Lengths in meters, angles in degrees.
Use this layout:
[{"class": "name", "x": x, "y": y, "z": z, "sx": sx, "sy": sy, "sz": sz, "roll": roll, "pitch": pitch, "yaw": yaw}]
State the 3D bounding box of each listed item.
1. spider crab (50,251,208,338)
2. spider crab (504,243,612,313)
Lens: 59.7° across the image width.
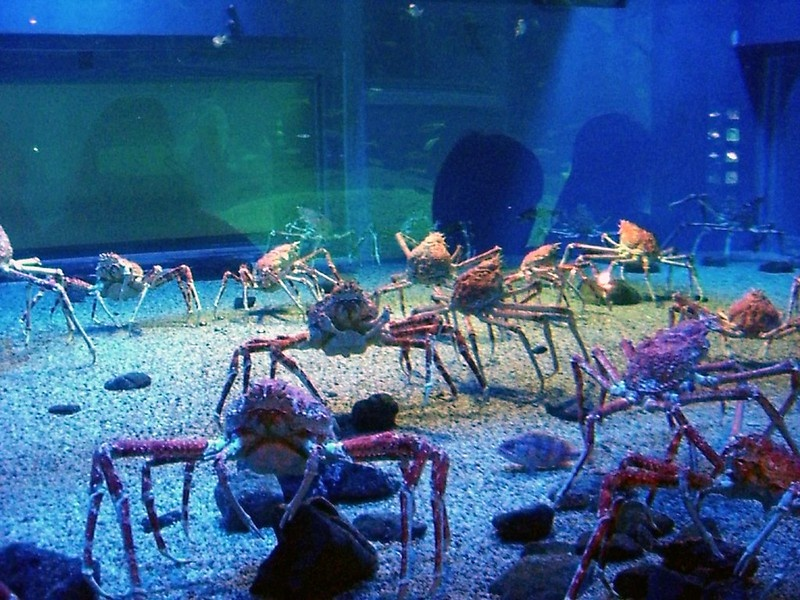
[{"class": "spider crab", "x": -2.646, "y": -0.173, "z": 7.295, "sx": 1.191, "sy": 0.672, "sz": 0.952, "roll": 1, "pitch": 2, "yaw": 27}, {"class": "spider crab", "x": 1.690, "y": -0.277, "z": 7.479, "sx": 0.887, "sy": 0.319, "sz": 0.996, "roll": -7, "pitch": 13, "yaw": -7}]
